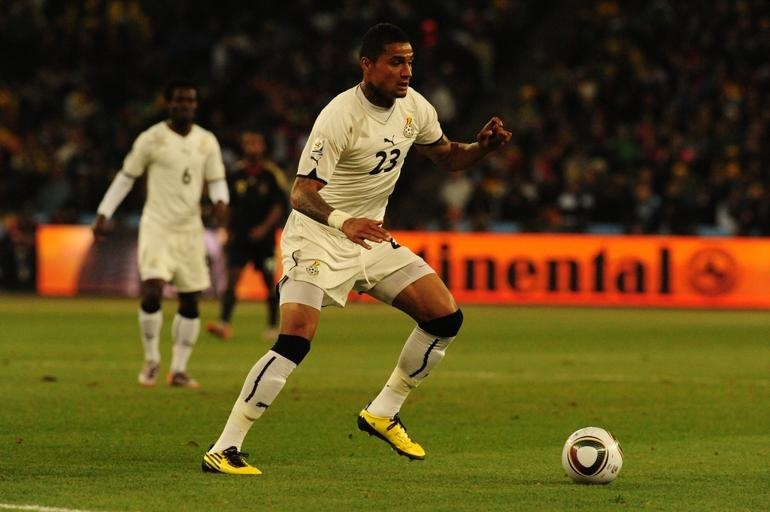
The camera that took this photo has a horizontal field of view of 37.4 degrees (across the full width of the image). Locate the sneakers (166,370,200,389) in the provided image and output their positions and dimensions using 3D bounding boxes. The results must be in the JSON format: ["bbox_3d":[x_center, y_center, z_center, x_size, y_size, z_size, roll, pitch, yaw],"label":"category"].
[{"bbox_3d":[-2.230,1.360,12.659,0.421,0.169,0.142,3,3,0],"label":"sneakers"}]

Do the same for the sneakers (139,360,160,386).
[{"bbox_3d":[-2.428,1.191,11.709,0.194,0.242,0.163,-1,8,-5],"label":"sneakers"}]

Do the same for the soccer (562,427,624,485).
[{"bbox_3d":[1.798,1.687,9.912,0.477,0.447,0.463,-1,5,-37],"label":"soccer"}]

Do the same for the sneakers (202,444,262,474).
[{"bbox_3d":[-1.358,1.784,10.069,0.596,0.238,0.211,5,-8,1],"label":"sneakers"}]
